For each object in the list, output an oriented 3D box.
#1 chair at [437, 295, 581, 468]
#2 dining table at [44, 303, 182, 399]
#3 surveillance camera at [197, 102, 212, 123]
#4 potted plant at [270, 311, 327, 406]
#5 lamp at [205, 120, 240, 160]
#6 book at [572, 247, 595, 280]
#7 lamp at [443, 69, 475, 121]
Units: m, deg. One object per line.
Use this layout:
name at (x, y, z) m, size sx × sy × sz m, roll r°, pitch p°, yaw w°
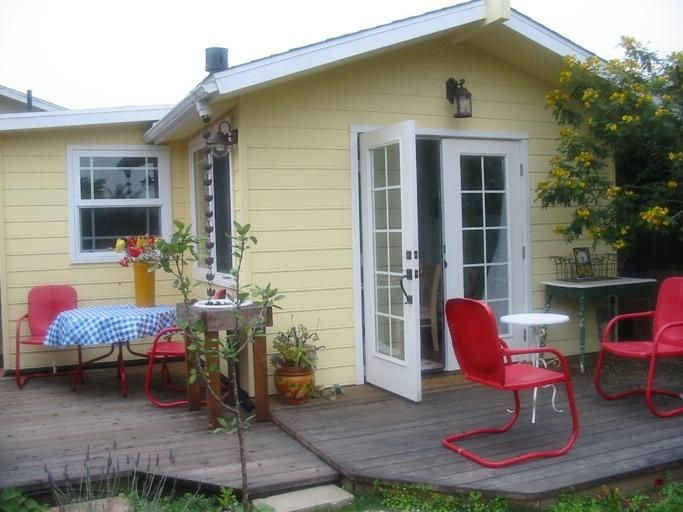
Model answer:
chair at (1.184, 0.847, 4.199) m, size 0.833 × 1.127 × 0.580 m, roll -3°, pitch 2°, yaw -18°
dining table at (-2.320, 0.663, 5.748) m, size 1.154 × 0.616 × 1.090 m, roll -1°, pitch 6°, yaw -12°
surveillance camera at (-1.242, -1.283, 5.198) m, size 0.122 × 0.176 × 0.168 m, roll 7°, pitch 16°, yaw 44°
potted plant at (-0.290, 0.995, 5.526) m, size 0.609 × 0.749 × 0.620 m, roll 0°, pitch -2°, yaw 9°
lamp at (-1.120, -1.097, 5.445) m, size 0.244 × 0.421 × 0.489 m, roll 0°, pitch 2°, yaw -34°
book at (2.691, 0.081, 6.450) m, size 0.340 × 0.446 × 0.053 m, roll 5°, pitch -17°, yaw -31°
lamp at (1.256, -1.644, 5.974) m, size 0.276 × 0.435 × 0.221 m, roll -3°, pitch 3°, yaw -34°
